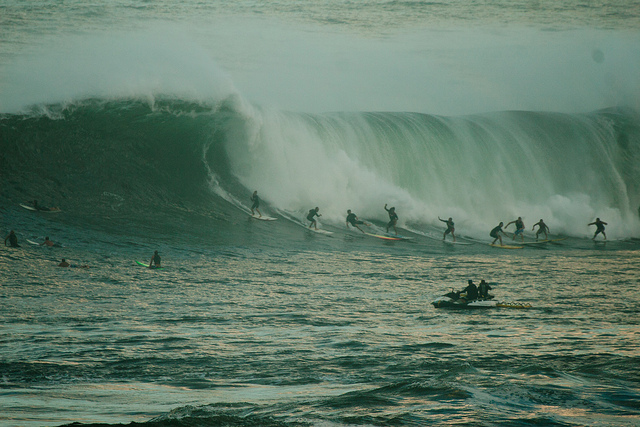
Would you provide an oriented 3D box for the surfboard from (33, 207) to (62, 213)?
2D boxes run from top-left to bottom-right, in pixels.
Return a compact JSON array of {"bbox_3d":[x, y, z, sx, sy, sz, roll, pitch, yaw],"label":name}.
[{"bbox_3d":[-11.018,-0.115,33.780,0.909,0.155,0.425,-13,24,-20],"label":"surfboard"}]

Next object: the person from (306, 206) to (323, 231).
[{"bbox_3d":[-0.340,0.261,38.256,0.852,1.051,0.606,-9,37,-18],"label":"person"}]

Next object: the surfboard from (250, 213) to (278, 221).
[{"bbox_3d":[-2.540,0.206,37.476,0.916,0.349,0.797,1,24,13],"label":"surfboard"}]

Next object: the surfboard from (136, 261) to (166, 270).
[{"bbox_3d":[-6.135,1.891,30.105,1.083,0.120,0.277,12,11,7],"label":"surfboard"}]

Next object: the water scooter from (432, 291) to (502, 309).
[{"bbox_3d":[4.794,2.926,27.862,1.668,0.405,0.842,3,-1,1],"label":"water scooter"}]

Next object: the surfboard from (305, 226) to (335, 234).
[{"bbox_3d":[-0.134,0.735,37.536,1.431,0.103,0.173,7,41,-21],"label":"surfboard"}]

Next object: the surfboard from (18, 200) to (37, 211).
[{"bbox_3d":[-11.910,-0.329,33.901,0.801,0.082,0.148,24,49,5],"label":"surfboard"}]

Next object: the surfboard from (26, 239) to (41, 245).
[{"bbox_3d":[-10.663,1.076,31.136,0.525,0.048,0.147,17,37,20],"label":"surfboard"}]

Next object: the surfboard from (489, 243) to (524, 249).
[{"bbox_3d":[8.404,1.498,38.214,2.007,0.139,0.235,0,37,-9],"label":"surfboard"}]

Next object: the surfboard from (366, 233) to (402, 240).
[{"bbox_3d":[2.845,1.095,37.782,1.440,0.244,0.580,3,24,18],"label":"surfboard"}]

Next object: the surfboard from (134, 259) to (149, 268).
[{"bbox_3d":[-6.543,1.814,30.240,0.634,0.082,0.152,17,53,17],"label":"surfboard"}]
